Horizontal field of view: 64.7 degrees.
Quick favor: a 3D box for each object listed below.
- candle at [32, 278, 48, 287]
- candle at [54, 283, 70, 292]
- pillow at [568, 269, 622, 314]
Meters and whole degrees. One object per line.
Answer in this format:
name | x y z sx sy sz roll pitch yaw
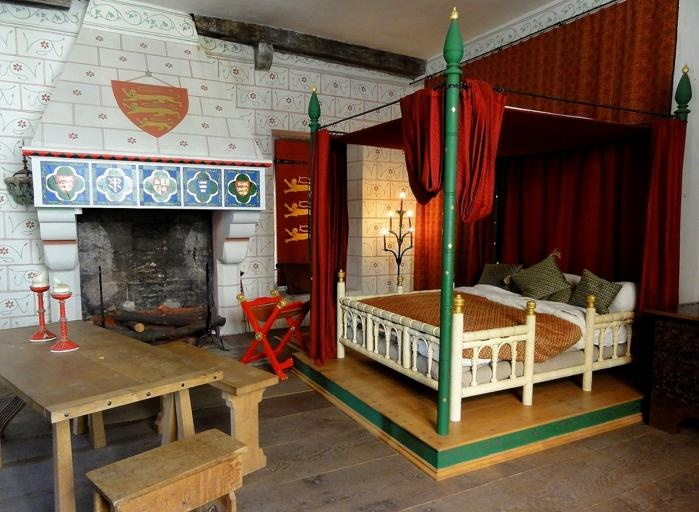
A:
candle | -2.368 0.208 4.211 0.100 0.074 0.089 1 -3 1
candle | -2.205 0.244 4.212 0.095 0.046 0.091 0 -1 31
pillow | 2.388 0.351 5.322 0.149 0.414 0.476 27 1 -37
